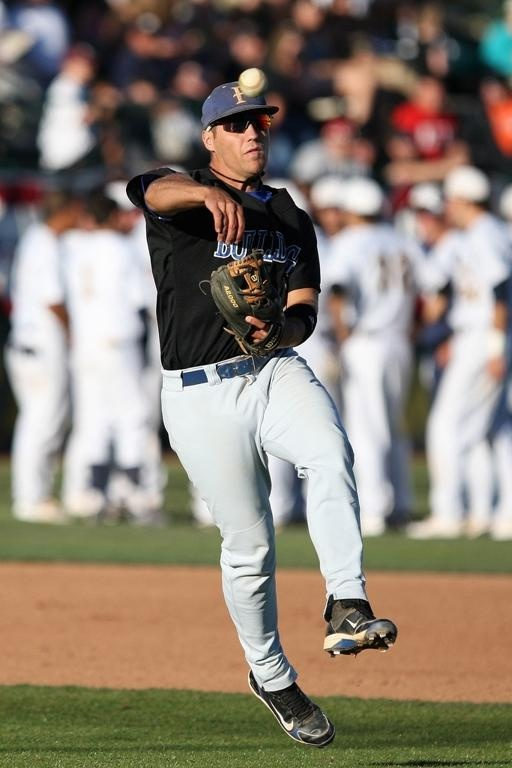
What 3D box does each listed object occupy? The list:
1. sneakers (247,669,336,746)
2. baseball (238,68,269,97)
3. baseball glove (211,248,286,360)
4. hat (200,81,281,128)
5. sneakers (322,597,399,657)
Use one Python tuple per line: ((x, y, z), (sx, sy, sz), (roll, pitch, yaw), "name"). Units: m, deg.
((0.088, 1.150, 4.428), (0.129, 0.148, 0.375), (-40, 48, -17), "sneakers")
((-0.035, -1.053, 4.429), (0.054, 0.103, 0.111), (-10, 14, 46), "baseball")
((-0.001, -0.266, 4.184), (0.256, 0.346, 0.147), (-36, 28, -33), "baseball glove")
((-0.081, -0.984, 4.452), (0.167, 0.086, 0.220), (-8, 3, -35), "hat")
((0.369, 0.744, 3.858), (0.113, 0.158, 0.317), (12, -24, -31), "sneakers")
